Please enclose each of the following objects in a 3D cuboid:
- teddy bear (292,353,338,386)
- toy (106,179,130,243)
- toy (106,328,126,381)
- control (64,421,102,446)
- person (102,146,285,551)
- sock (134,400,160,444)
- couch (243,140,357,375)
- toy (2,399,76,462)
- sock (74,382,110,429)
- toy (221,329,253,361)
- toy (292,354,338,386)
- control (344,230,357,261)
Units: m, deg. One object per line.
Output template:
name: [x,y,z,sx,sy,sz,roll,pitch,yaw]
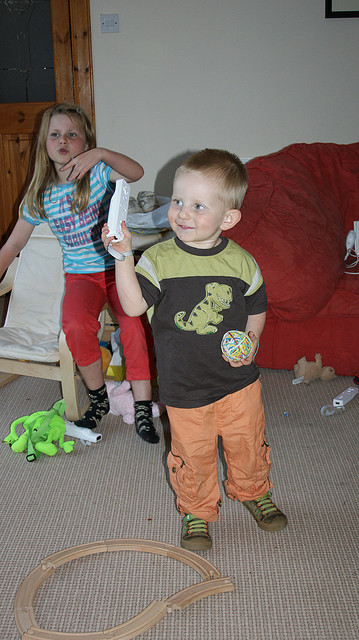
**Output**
teddy bear: [0.553,0.215,1.837,0.153,0.121,0.080,-17,-21,-18]
toy: [-0.106,-0.188,0.763,0.022,0.098,0.098,7,11,7]
toy: [-0.258,0.142,1.895,0.123,0.184,0.051,-8,-10,23]
control: [-0.325,0.380,1.463,0.131,0.051,0.032,14,16,31]
person: [0.027,0.082,0.957,0.408,0.865,0.210,-6,12,-25]
sock: [-0.116,0.337,1.492,0.050,0.110,0.154,7,4,-23]
couch: [0.425,-0.290,2.212,0.858,0.962,0.380,-2,0,-27]
toy: [-0.465,0.359,1.445,0.259,0.123,0.222,1,12,7]
sock: [-0.307,0.306,1.587,0.064,0.143,0.182,-1,11,20]
toy: [0.121,0.051,0.868,0.051,0.059,0.034,2,-4,-5]
toy: [0.552,0.209,1.837,0.159,0.115,0.082,-14,-4,-14]
control: [0.738,-0.325,1.923,0.024,0.108,0.029,10,12,-3]
